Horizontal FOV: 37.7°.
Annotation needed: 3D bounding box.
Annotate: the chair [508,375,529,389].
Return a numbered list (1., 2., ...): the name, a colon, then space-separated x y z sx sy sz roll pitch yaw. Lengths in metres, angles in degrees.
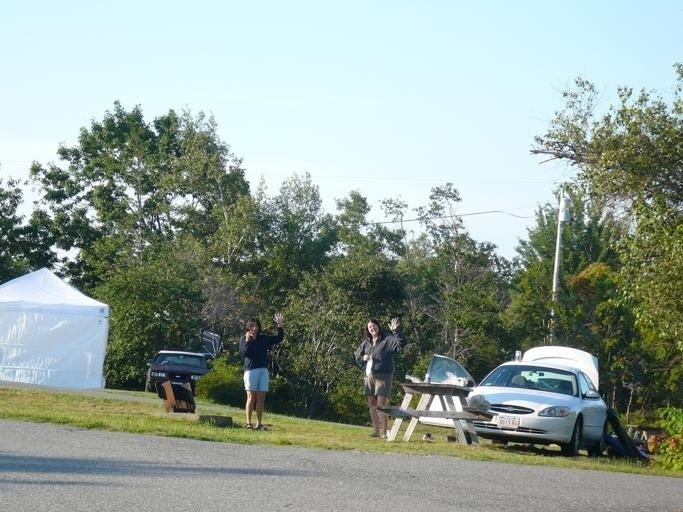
1. chair: 4.236 2.997 23.918 0.259 0.284 0.269 2 -12 7

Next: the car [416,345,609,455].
1. car: 5.108 3.394 24.588 2.246 2.085 4.426 -4 -16 27

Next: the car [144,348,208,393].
1. car: -5.752 3.902 34.853 1.336 1.041 2.450 1 -10 -4

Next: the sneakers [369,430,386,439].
1. sneakers: 0.857 4.266 23.883 0.404 0.183 0.155 9 -6 0
